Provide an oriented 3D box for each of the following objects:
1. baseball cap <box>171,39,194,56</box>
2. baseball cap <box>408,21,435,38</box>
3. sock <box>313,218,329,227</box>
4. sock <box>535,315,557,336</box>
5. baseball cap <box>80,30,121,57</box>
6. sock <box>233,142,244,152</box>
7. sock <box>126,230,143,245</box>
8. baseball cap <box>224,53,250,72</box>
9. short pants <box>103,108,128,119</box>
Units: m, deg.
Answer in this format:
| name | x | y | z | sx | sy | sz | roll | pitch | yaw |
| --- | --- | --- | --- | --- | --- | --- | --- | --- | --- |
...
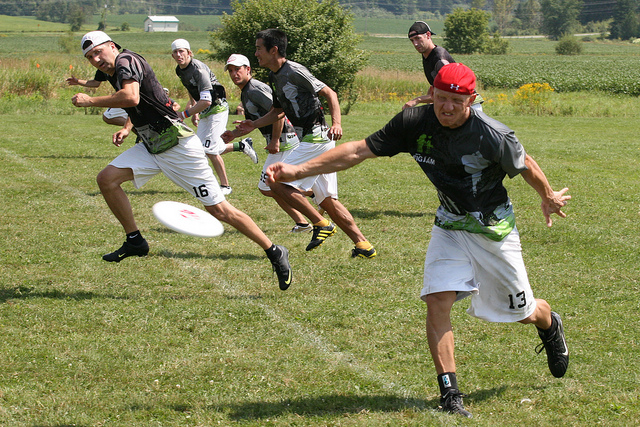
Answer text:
| name | x | y | z | sx | sy | sz | roll | pitch | yaw |
| --- | --- | --- | --- | --- | --- | --- | --- | --- | --- |
| baseball cap | -2.367 | -2.812 | 11.602 | 0.283 | 0.154 | 0.273 | 5 | 22 | 20 |
| baseball cap | 1.489 | -2.836 | 10.504 | 0.419 | 0.211 | 0.276 | -15 | 21 | -29 |
| sock | 0.003 | 0.141 | 9.188 | 0.206 | 0.084 | 0.070 | -27 | 41 | -8 |
| sock | 2.278 | 1.131 | 6.846 | 0.145 | 0.170 | 0.182 | 15 | 2 | -44 |
| baseball cap | -2.566 | -2.013 | 7.960 | 0.307 | 0.196 | 0.418 | -23 | -14 | 9 |
| sock | -1.618 | -1.312 | 13.331 | 0.149 | 0.183 | 0.379 | -8 | 19 | -24 |
| sock | -2.206 | 0.296 | 8.158 | 0.200 | 0.172 | 0.132 | -1 | -4 | 0 |
| baseball cap | -1.238 | -2.353 | 10.494 | 0.299 | 0.194 | 0.401 | -5 | -1 | 22 |
| short pants | -3.831 | -1.882 | 12.829 | 0.392 | 0.169 | 0.608 | -4 | 18 | -16 |
